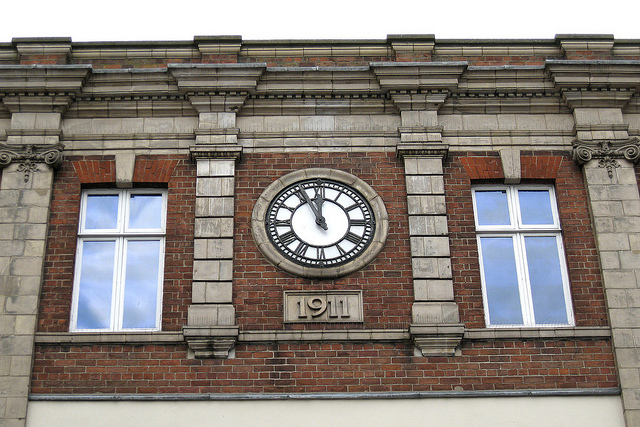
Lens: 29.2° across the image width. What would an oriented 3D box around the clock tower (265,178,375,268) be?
[{"bbox_3d":[-0.044,0.283,27.326,2.519,2.140,0.244,1,-31,-2],"label":"clock tower"}]
